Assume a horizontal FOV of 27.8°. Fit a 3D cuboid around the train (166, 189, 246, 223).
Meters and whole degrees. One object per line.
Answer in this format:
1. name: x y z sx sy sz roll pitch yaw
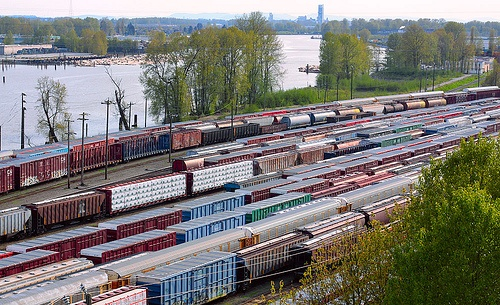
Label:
1. train: -7.662 11.802 187.004 4.517 3.584 14.561 2 7 44
